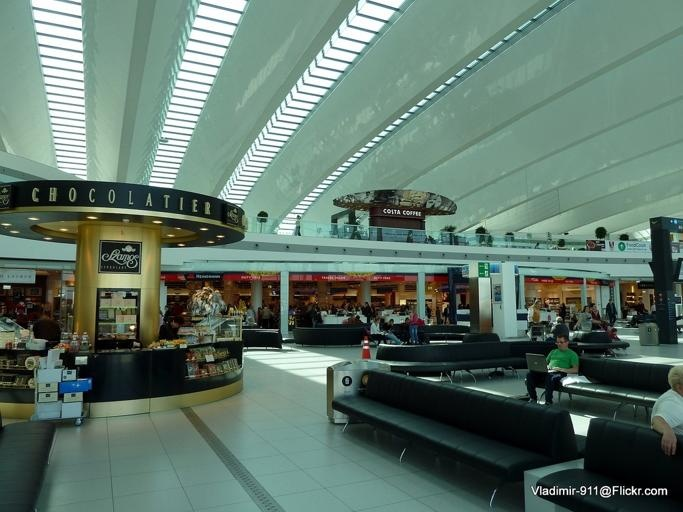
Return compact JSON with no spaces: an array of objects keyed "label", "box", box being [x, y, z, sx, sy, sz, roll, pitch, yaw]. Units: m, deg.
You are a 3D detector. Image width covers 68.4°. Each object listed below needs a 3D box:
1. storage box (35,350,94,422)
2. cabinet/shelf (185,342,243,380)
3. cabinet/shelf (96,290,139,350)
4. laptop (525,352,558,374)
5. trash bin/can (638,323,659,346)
[{"label":"storage box","box":[-5.001,2.324,8.974,0.869,1.178,0.467,2,-1,-28]},{"label":"cabinet/shelf","box":[-2.775,2.208,10.626,0.372,0.363,1.117,-5,-8,31]},{"label":"cabinet/shelf","box":[-4.648,1.309,10.354,0.832,1.243,0.441,2,4,-25]},{"label":"laptop","box":[4.062,2.146,10.187,0.423,0.314,0.475,2,-4,-28]},{"label":"trash bin/can","box":[11.867,3.055,19.719,0.903,0.978,0.882,-1,-6,10]}]
